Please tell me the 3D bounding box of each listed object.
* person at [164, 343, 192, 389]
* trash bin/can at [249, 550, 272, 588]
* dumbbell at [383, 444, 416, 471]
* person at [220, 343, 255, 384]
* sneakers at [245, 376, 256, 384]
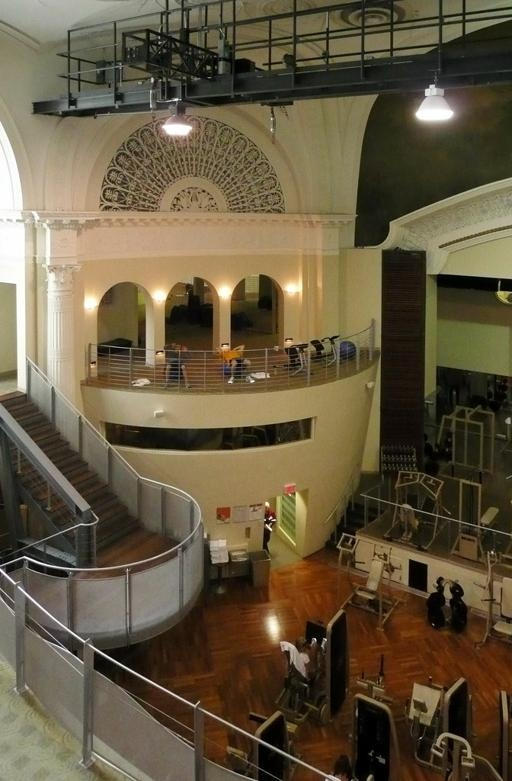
[{"bbox_3d":[-1.751,-0.573,14.041,0.519,0.875,1.571,-2,7,-6],"label":"person"},{"bbox_3d":[0.047,3.862,13.772,0.499,0.857,0.650,-1,7,-7],"label":"trash bin/can"},{"bbox_3d":[3.865,1.843,16.852,0.681,0.316,0.716,4,32,7],"label":"dumbbell"},{"bbox_3d":[-0.479,-0.579,14.202,0.935,0.850,1.267,1,13,-16],"label":"person"},{"bbox_3d":[-0.122,-0.251,13.859,0.203,0.165,0.314,-1,7,-1],"label":"sneakers"}]
